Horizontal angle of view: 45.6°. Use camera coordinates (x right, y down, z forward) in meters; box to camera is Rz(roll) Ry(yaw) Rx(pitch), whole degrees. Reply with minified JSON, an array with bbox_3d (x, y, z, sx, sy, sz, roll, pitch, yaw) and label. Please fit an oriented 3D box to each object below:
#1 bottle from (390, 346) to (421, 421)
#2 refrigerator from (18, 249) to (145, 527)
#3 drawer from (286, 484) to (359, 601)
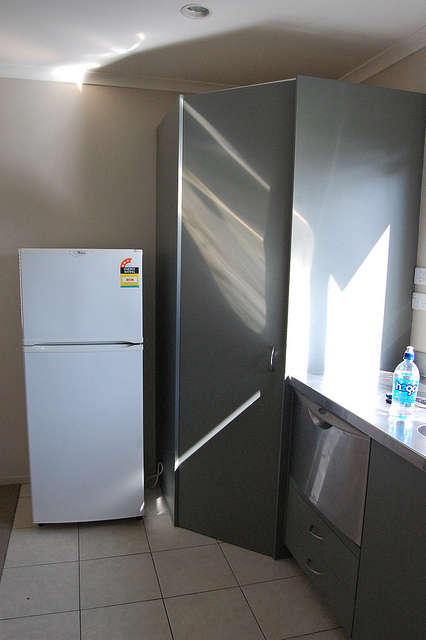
[{"bbox_3d":[0.686,0.218,1.806,0.085,0.228,0.272,4,9,21],"label":"bottle"},{"bbox_3d":[-0.658,0.272,2.692,0.569,1.511,0.491,0,17,-14],"label":"refrigerator"},{"bbox_3d":[0.426,0.859,1.908,0.156,0.114,0.229,-7,32,-17],"label":"drawer"}]
